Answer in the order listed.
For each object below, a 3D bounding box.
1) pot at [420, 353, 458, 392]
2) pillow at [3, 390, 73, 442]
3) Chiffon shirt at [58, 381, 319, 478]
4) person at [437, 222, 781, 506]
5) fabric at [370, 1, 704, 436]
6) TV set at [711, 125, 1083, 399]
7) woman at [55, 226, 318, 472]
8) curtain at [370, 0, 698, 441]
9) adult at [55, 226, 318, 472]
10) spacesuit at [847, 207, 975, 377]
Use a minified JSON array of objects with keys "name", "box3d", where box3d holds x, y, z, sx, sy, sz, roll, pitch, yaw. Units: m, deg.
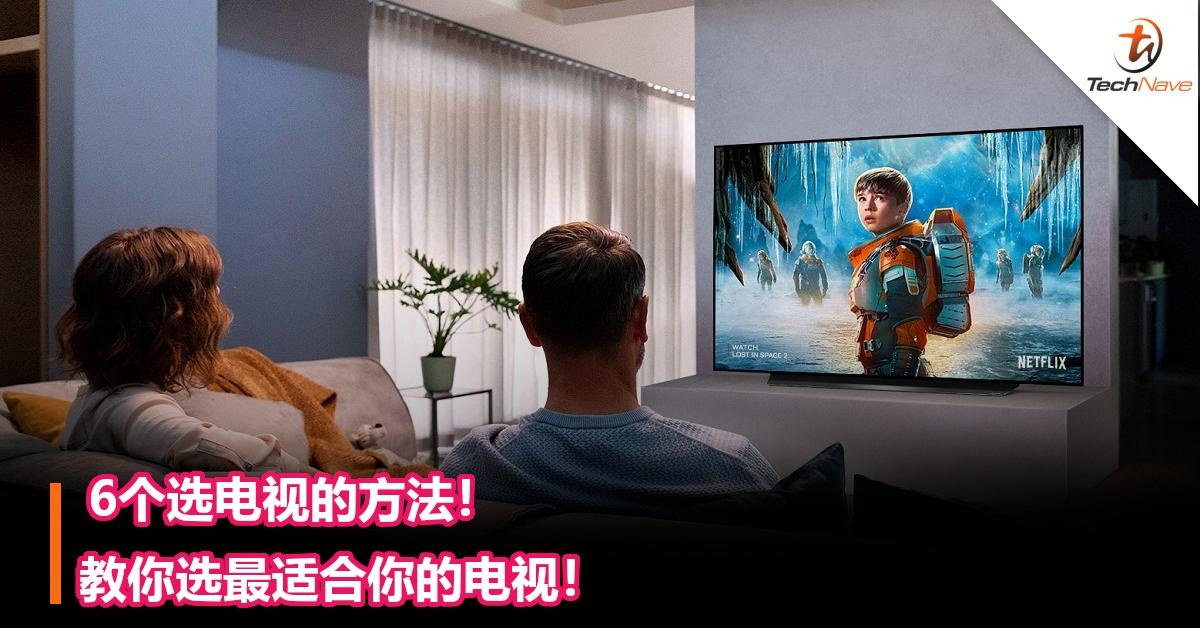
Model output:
[{"name":"pot","box3d":[-1.020,0.383,4.989,0.234,0.211,0.243,1,-1,0]},{"name":"pillow","box3d":[-2.031,0.353,2.899,0.239,0.066,0.218,22,-2,-2]},{"name":"Chiffon shirt","box3d":[-1.359,0.394,2.524,0.482,0.151,0.462,5,-2,-26]},{"name":"person","box3d":[-0.003,0.165,2.390,1.219,0.856,0.569,-1,2,28]},{"name":"fabric","box3d":[-0.579,-0.828,5.484,0.270,3.140,3.536,-5,-6,45]},{"name":"TV set","box3d":[1.806,-0.296,4.574,1.846,1.148,0.031,0,2,27]},{"name":"woman","box3d":[-1.426,0.112,2.822,0.785,0.767,1.167,-4,11,-36]},{"name":"curtain","box3d":[-0.598,-0.819,5.461,3.560,3.165,0.356,3,-6,-44]},{"name":"adult","box3d":[-1.427,0.109,2.839,0.859,0.762,1.196,-5,12,-34]},{"name":"spacesuit","box3d":[2.017,-0.168,5.228,0.902,1.356,1.058,1,1,27]}]
